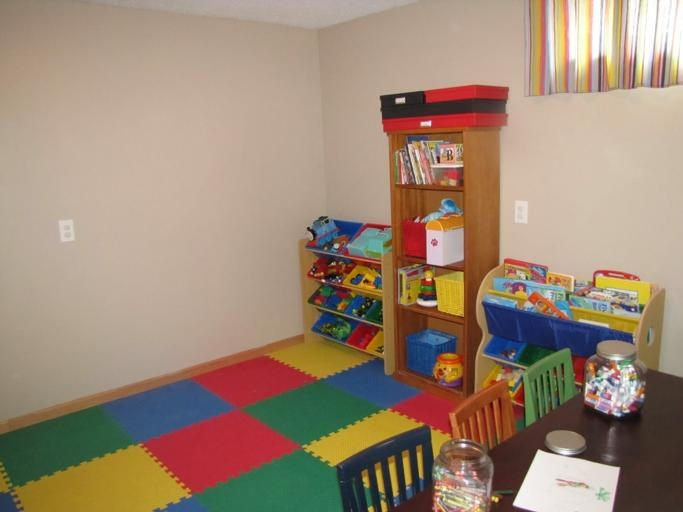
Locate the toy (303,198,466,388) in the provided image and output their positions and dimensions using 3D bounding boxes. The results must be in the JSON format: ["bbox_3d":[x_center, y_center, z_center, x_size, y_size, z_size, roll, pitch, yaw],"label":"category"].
[{"bbox_3d":[0.438,0.357,4.511,0.618,1.257,1.535,-6,10,-43],"label":"toy"}]

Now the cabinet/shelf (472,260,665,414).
[{"bbox_3d":[1.748,0.577,3.779,1.240,1.008,0.742,7,10,43],"label":"cabinet/shelf"}]

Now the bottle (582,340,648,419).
[{"bbox_3d":[1.254,0.545,2.254,0.268,0.309,0.259,-10,15,-26],"label":"bottle"}]

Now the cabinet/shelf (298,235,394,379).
[{"bbox_3d":[0.070,0.487,4.856,0.385,1.159,1.132,-7,11,-44],"label":"cabinet/shelf"}]
